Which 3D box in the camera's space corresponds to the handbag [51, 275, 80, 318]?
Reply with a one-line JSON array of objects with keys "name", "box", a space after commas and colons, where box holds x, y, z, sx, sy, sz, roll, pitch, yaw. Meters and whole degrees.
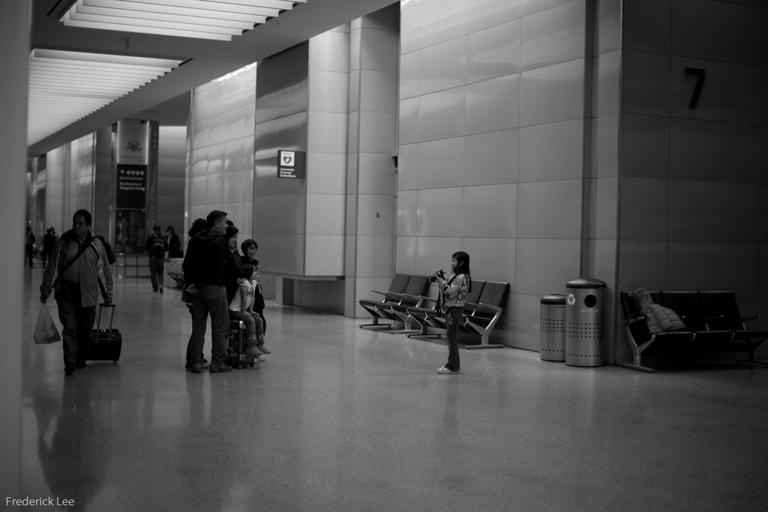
[{"name": "handbag", "box": [-4.809, 0.679, 8.995, 0.513, 0.651, 0.218, 1, -1, 34]}]

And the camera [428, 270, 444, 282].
[{"name": "camera", "box": [0.945, 0.346, 9.958, 0.246, 0.107, 0.248, -5, 3, -25]}]

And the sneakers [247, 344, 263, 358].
[{"name": "sneakers", "box": [-2.075, 1.565, 9.862, 0.297, 0.214, 0.115, -1, 2, 12]}]

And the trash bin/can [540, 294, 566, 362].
[{"name": "trash bin/can", "box": [3.151, 1.334, 11.056, 0.448, 1.202, 0.283, 1, -1, 17]}]

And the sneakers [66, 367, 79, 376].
[{"name": "sneakers", "box": [-4.690, 1.727, 8.961, 0.115, 0.084, 0.119, 0, 2, -15]}]

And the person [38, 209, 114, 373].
[{"name": "person", "box": [-4.656, 0.525, 9.020, 0.696, 2.431, 1.132, 1, -1, 16]}]

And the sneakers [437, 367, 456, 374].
[{"name": "sneakers", "box": [1.044, 1.874, 9.789, 0.296, 0.121, 0.116, 3, -5, -1]}]

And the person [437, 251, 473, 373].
[{"name": "person", "box": [1.159, 0.928, 9.812, 0.479, 1.962, 0.347, 2, -1, 7]}]

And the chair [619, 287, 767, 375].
[{"name": "chair", "box": [5.588, 1.310, 10.792, 2.698, 1.361, 1.112, 2, -1, -22]}]
